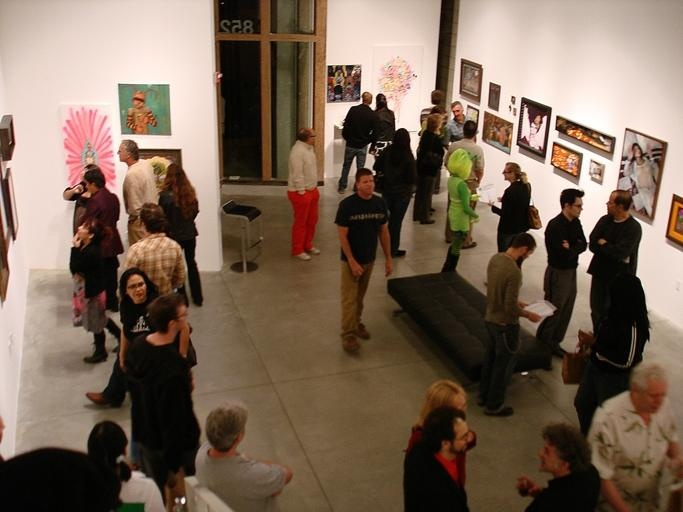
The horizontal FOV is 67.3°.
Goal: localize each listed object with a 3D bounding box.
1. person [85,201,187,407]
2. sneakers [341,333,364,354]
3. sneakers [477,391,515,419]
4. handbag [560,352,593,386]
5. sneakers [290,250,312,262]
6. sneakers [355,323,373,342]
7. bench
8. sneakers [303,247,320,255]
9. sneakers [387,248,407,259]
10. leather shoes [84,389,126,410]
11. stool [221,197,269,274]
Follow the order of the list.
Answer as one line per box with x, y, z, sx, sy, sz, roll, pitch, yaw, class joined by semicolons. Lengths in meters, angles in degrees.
-2.233;0.530;5.456;0.861;2.126;0.623;3;7;-35;person
0.091;1.053;6.227;0.149;0.122;0.258;-7;30;-13;sneakers
1.553;1.552;5.295;0.405;0.281;0.154;-14;42;-9;sneakers
2.191;1.037;4.842;0.250;0.343;0.139;1;15;-12;handbag
-0.687;0.016;8.394;0.313;0.116;0.254;1;-10;18;sneakers
0.244;0.948;6.420;0.097;0.188;0.275;-10;20;-21;sneakers
1.324;1.018;6.336;1.022;0.363;1.781;0;32;-30;bench
-0.514;-0.097;8.527;0.274;0.119;0.102;2;50;29;sneakers
0.922;-0.085;8.572;0.302;0.186;0.100;-25;50;-21;sneakers
-2.411;1.451;5.190;0.296;0.140;0.106;23;8;-13;leather shoes
-1.687;-0.304;8.690;0.698;1.441;0.744;7;30;10;stool
